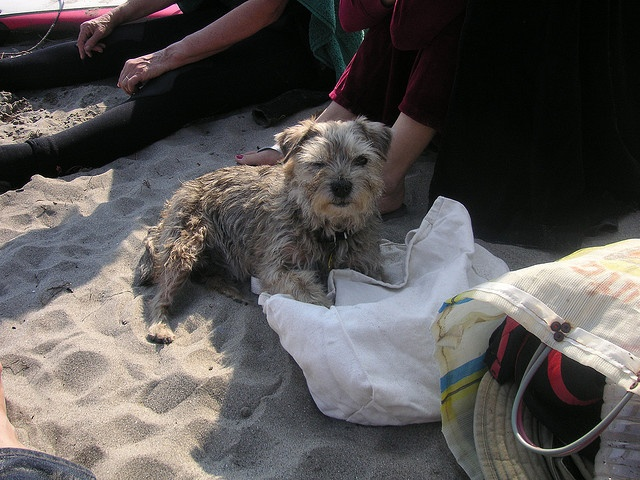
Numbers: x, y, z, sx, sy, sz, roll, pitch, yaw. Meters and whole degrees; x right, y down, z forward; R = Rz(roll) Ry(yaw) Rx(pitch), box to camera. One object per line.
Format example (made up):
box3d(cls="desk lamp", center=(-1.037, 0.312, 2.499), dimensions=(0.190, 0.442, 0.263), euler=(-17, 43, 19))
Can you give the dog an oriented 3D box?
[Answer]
box3d(cls="dog", center=(-0.516, -0.169, 5.019), dimensions=(2.489, 1.833, 1.568), euler=(3, 11, 29))
